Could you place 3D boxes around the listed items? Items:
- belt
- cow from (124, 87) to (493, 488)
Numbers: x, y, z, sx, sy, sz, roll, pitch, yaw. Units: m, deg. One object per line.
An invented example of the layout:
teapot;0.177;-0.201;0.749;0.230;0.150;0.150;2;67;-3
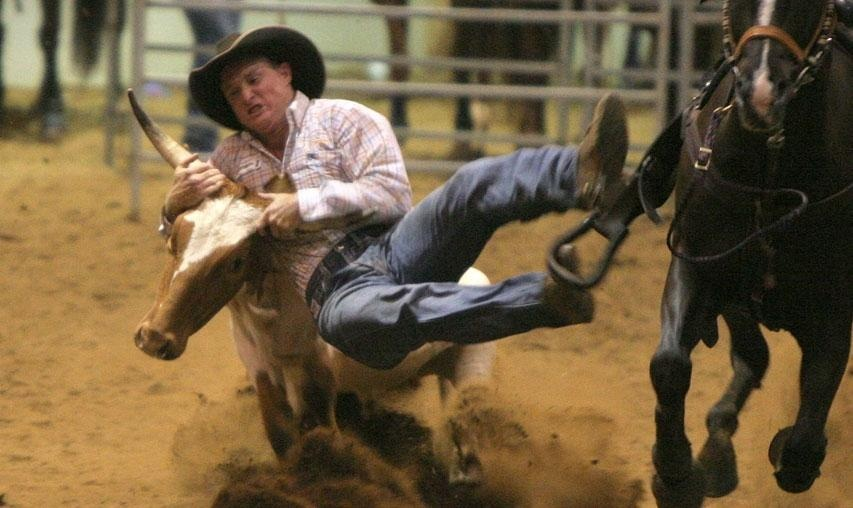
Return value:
belt;-0.434;0.036;6.958;0.150;0.417;0.308;44;-4;43
cow;-0.396;0.143;7.804;0.836;2.169;2.935;27;24;38
